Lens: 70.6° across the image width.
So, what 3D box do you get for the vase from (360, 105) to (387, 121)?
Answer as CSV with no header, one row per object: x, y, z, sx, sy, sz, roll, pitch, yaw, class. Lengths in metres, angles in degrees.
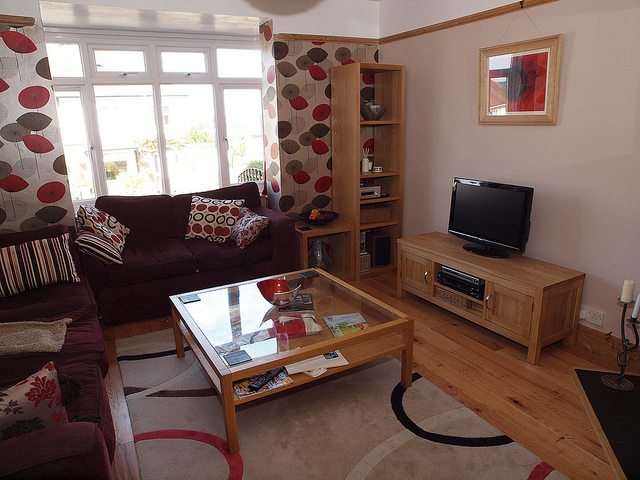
0.565,-1.388,4.896,0.253,0.138,0.173,-2,5,-17,vase

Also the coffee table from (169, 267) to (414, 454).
-0.233,0.752,3.382,1.459,0.618,1.178,-10,18,-23,coffee table

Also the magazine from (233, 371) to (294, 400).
-0.359,0.901,2.840,0.368,0.042,0.177,-8,17,-17,magazine

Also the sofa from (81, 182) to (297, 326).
-1.357,0.033,4.644,1.952,0.990,1.006,-8,22,-24,sofa

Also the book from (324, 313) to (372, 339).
0.192,0.595,3.204,0.279,0.015,0.304,-8,17,-16,book

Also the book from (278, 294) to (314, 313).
-0.194,0.494,3.492,0.258,0.046,0.256,-4,16,-3,book

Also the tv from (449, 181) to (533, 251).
1.421,-0.212,3.959,0.819,0.570,0.214,9,2,-17,tv

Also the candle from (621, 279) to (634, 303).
1.961,0.312,2.900,0.053,0.140,0.170,8,20,34,candle

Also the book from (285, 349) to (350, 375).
-0.018,0.819,2.999,0.244,0.026,0.199,-7,12,-27,book

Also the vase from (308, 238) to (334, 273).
0.004,0.156,5.105,0.311,0.426,0.346,1,8,32,vase

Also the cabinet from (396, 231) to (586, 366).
1.434,0.461,3.961,0.553,0.654,1.373,-15,20,-34,cabinet

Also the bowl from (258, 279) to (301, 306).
-0.360,0.409,3.633,0.206,0.095,0.221,2,12,0,bowl

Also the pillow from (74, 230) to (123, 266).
-2.005,0.050,4.104,0.123,0.402,0.395,-32,0,12,pillow

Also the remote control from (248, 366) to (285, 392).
-0.353,0.879,2.857,0.075,0.027,0.258,10,14,25,remote control

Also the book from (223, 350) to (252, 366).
-0.514,0.729,2.788,0.141,0.014,0.134,-11,18,-26,book
